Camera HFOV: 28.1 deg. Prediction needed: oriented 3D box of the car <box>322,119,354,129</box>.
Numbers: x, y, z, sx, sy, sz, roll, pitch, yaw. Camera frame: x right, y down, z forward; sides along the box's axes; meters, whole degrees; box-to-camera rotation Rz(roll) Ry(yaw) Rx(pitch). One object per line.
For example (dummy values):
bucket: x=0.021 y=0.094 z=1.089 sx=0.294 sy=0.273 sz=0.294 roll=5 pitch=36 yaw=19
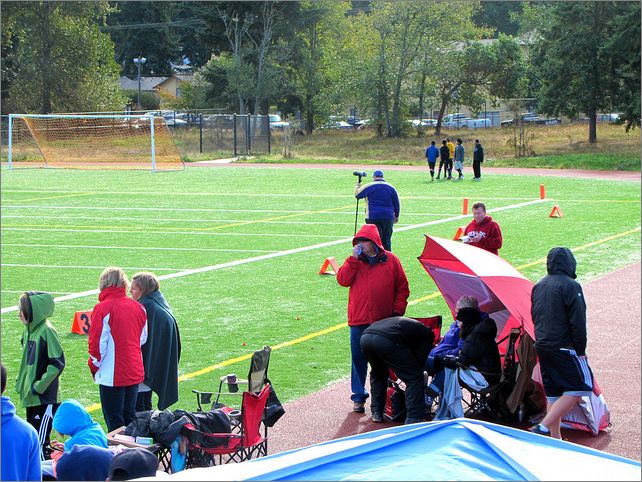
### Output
car: x=1.626 y=-10.500 z=116.595 sx=2.573 sy=0.775 sz=1.422 roll=-10 pitch=16 yaw=-39

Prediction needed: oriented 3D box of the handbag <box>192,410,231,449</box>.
handbag: x=-3.615 y=6.256 z=42.091 sx=1.320 sy=1.144 sz=0.433 roll=-3 pitch=9 yaw=-7

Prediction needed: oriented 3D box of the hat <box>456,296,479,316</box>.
hat: x=4.973 y=2.217 z=43.666 sx=0.643 sy=0.628 sz=0.502 roll=9 pitch=0 yaw=17

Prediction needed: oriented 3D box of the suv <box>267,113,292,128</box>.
suv: x=-3.546 y=-9.423 z=103.198 sx=1.681 sy=1.418 sz=2.806 roll=-7 pitch=8 yaw=-30

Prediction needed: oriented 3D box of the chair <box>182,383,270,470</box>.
chair: x=-2.845 y=6.298 z=43.443 sx=2.679 sy=3.651 sz=2.656 roll=0 pitch=-6 yaw=21

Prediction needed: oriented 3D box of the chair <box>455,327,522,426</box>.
chair: x=5.764 y=4.682 z=44.077 sx=2.376 sy=3.270 sz=1.982 roll=-1 pitch=12 yaw=18

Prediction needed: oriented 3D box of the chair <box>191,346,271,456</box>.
chair: x=-3.061 y=5.816 z=42.871 sx=2.739 sy=4.086 sz=2.777 roll=0 pitch=4 yaw=22

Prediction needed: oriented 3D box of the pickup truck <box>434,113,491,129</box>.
pickup truck: x=12.705 y=-10.257 z=112.512 sx=3.565 sy=1.272 sz=2.030 roll=10 pitch=15 yaw=36
